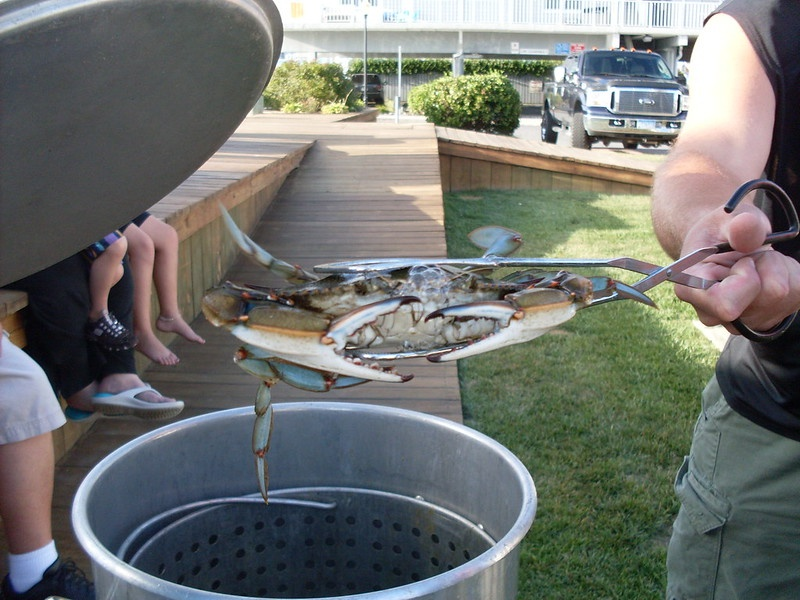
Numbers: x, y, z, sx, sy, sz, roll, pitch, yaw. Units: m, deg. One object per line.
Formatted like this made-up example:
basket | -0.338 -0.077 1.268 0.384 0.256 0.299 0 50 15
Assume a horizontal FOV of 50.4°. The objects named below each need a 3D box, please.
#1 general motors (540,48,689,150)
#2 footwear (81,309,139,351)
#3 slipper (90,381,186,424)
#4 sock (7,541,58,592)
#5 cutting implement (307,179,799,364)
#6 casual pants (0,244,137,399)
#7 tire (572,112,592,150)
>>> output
general motors | 3.036 -2.839 12.975 1.775 1.496 3.145 -2 17 -5
footwear | -1.167 0.122 3.387 0.237 0.124 0.105 15 12 26
slipper | -1.029 0.410 3.336 0.276 0.122 0.154 6 6 -14
sock | -1.124 0.818 2.659 0.084 0.127 0.175 3 17 9
cutting implement | 0.292 -0.001 2.005 1.186 0.102 0.471 -3 47 15
casual pants | -1.265 0.108 3.250 0.513 0.191 0.505 -27 37 -34
tire | 2.541 -2.378 12.180 0.119 0.514 0.491 -17 13 37
